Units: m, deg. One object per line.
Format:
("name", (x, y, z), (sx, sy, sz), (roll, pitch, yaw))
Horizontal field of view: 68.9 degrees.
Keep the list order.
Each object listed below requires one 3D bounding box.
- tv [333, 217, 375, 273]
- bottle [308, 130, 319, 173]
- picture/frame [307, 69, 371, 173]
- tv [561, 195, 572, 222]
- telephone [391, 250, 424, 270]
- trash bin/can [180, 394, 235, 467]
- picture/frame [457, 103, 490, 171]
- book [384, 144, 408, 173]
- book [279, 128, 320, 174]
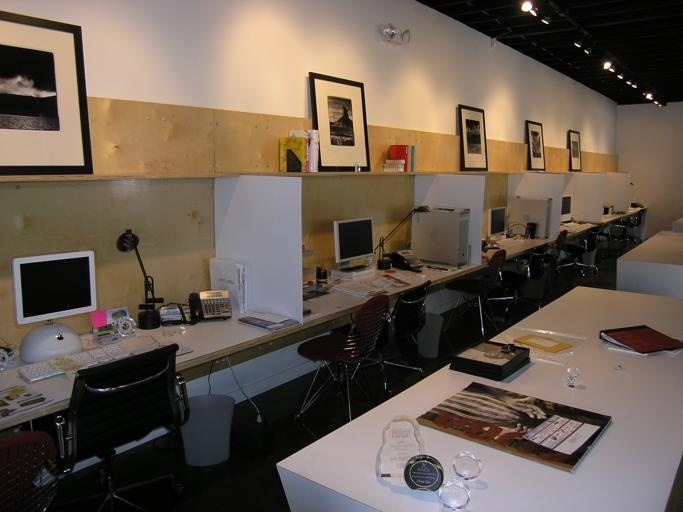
("tv", (0.107, -0.110, 4.662), (0.126, 0.371, 0.498), (2, 6, 36))
("bottle", (-0.220, -0.819, 3.908), (0.087, 0.321, 0.187), (-3, 12, -5))
("picture/frame", (-0.010, -1.198, 4.518), (0.237, 0.853, 0.811), (5, 14, 31))
("tv", (3.863, -0.813, 8.520), (0.136, 0.357, 0.488), (3, 7, 35))
("telephone", (0.663, 0.044, 5.000), (0.215, 0.140, 0.210), (9, 11, 43))
("trash bin/can", (-0.862, 1.144, 3.323), (0.401, 0.366, 0.375), (-1, -8, 16))
("picture/frame", (1.767, -1.552, 6.622), (0.181, 0.852, 0.812), (5, 14, 31))
("book", (0.559, -1.000, 5.097), (0.231, 0.260, 0.145), (-1, 12, 4))
("book", (-0.324, -0.798, 3.977), (0.334, 0.441, 0.340), (3, 3, 21))
